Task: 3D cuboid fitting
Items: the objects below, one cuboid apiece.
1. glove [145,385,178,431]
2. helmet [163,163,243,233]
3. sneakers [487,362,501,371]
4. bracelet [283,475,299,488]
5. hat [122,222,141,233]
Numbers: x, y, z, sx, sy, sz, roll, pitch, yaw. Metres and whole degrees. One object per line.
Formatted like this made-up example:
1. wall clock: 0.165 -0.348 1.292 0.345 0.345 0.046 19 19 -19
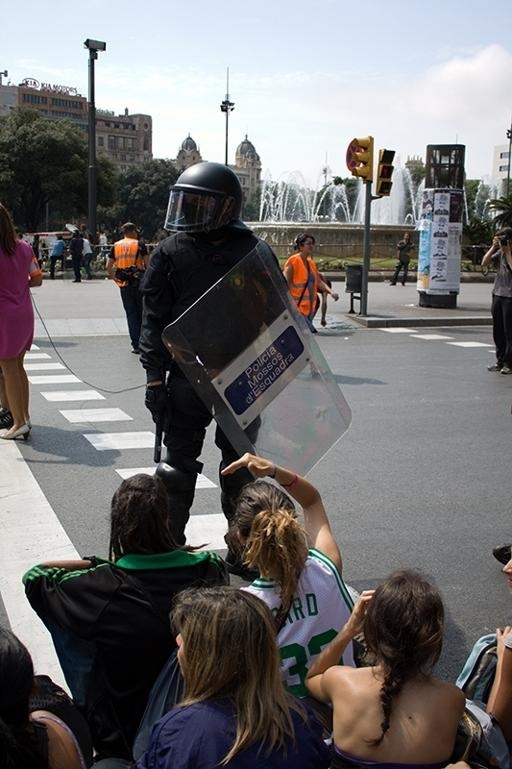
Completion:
1. glove: -0.498 0.119 3.521 0.168 0.223 0.096 -2 16 30
2. helmet: -0.260 -0.955 3.497 0.521 0.392 0.389 -10 22 -38
3. sneakers: 3.758 -0.257 10.408 0.071 0.089 0.195 -4 8 -29
4. bracelet: 0.144 0.402 2.701 0.054 0.053 0.053 -31 4 10
5. hat: -2.154 -2.749 11.499 0.254 0.195 0.348 11 25 33
